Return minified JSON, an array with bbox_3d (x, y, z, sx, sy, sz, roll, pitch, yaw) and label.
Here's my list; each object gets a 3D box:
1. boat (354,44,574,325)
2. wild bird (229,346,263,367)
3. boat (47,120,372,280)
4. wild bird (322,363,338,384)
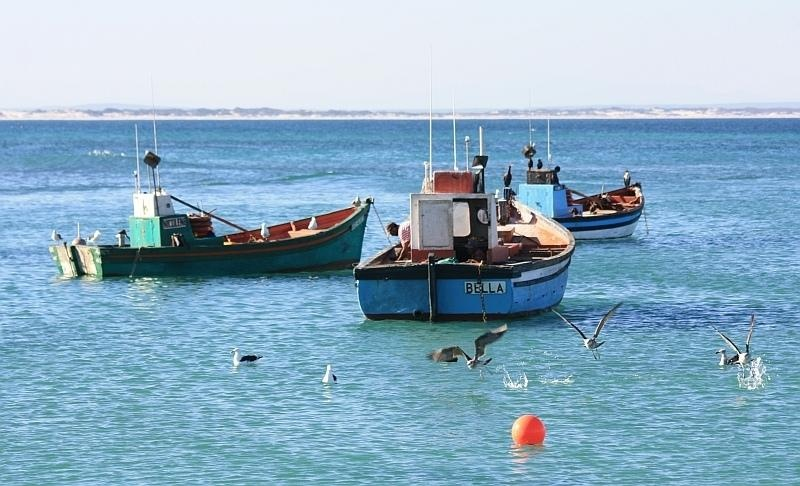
[{"bbox_3d":[3.277,-1.507,69.568,10.230,7.022,15.050,7,17,10],"label":"boat"},{"bbox_3d":[-6.707,4.760,62.658,1.429,0.689,0.667,-3,1,-24],"label":"wild bird"},{"bbox_3d":[-9.870,-1.819,75.225,14.628,6.526,5.610,-4,12,-8],"label":"boat"},{"bbox_3d":[-2.941,5.405,61.134,0.684,0.653,0.820,1,-7,-1],"label":"wild bird"}]
